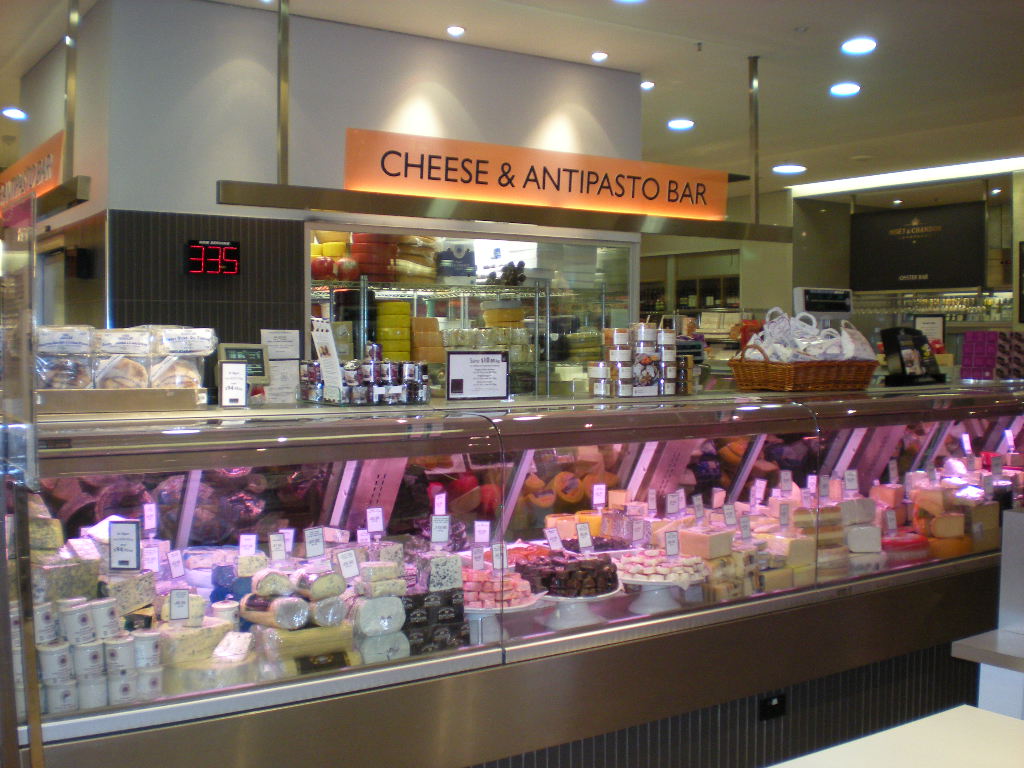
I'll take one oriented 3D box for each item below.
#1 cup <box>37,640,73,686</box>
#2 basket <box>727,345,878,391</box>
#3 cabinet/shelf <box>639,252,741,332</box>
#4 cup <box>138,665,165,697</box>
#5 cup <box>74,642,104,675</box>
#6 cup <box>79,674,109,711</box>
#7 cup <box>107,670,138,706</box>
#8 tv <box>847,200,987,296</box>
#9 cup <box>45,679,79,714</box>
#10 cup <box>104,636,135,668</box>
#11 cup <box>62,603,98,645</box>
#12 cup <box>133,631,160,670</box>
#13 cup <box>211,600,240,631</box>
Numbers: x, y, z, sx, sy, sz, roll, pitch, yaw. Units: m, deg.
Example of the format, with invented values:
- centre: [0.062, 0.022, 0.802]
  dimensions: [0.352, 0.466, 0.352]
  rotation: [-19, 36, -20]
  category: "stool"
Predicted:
- centre: [-1.123, 0.684, 2.096]
  dimensions: [0.081, 0.085, 0.080]
  rotation: [0, -3, 0]
  category: "cup"
- centre: [1.218, -0.030, 3.455]
  dimensions: [0.360, 0.127, 0.259]
  rotation: [2, -1, -24]
  category: "basket"
- centre: [2.165, -1.239, 10.489]
  dimensions: [0.259, 0.784, 1.559]
  rotation: [-6, 6, -37]
  category: "cabinet/shelf"
- centre: [-0.921, 0.758, 2.162]
  dimensions: [0.066, 0.070, 0.067]
  rotation: [0, -4, 0]
  category: "cup"
- centre: [-1.057, 0.684, 2.120]
  dimensions: [0.075, 0.076, 0.074]
  rotation: [0, -5, 0]
  category: "cup"
- centre: [-1.046, 0.767, 2.118]
  dimensions: [0.076, 0.078, 0.074]
  rotation: [0, -1, 0]
  category: "cup"
- centre: [-0.981, 0.762, 2.137]
  dimensions: [0.076, 0.077, 0.074]
  rotation: [0, -7, 0]
  category: "cup"
- centre: [3.890, -1.277, 8.201]
  dimensions: [1.310, 0.790, 0.094]
  rotation: [-2, 3, 0]
  category: "tv"
- centre: [-1.106, 0.763, 2.104]
  dimensions: [0.074, 0.070, 0.074]
  rotation: [-1, -6, 0]
  category: "cup"
- centre: [-0.987, 0.680, 2.141]
  dimensions: [0.073, 0.074, 0.070]
  rotation: [1, 4, 0]
  category: "cup"
- centre: [-1.090, 0.600, 2.136]
  dimensions: [0.090, 0.093, 0.092]
  rotation: [0, -2, 0]
  category: "cup"
- centre: [-0.930, 0.676, 2.176]
  dimensions: [0.077, 0.078, 0.075]
  rotation: [0, -1, 0]
  category: "cup"
- centre: [-0.770, 0.618, 2.305]
  dimensions: [0.072, 0.076, 0.070]
  rotation: [0, -1, 0]
  category: "cup"
